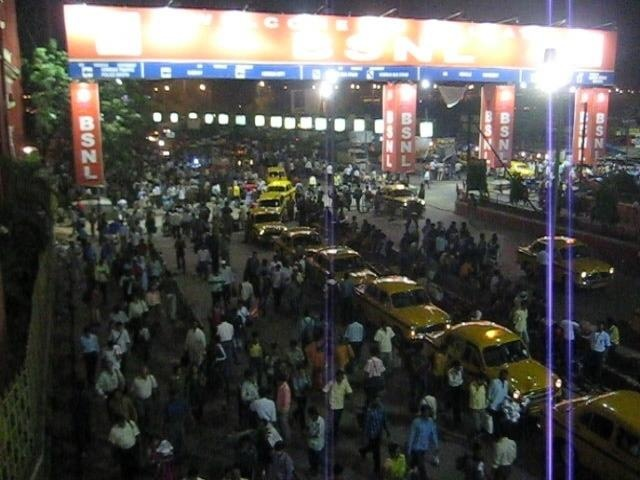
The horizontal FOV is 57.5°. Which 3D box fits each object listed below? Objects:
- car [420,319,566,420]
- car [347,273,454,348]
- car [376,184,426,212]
[{"bbox_3d":[4.185,2.847,14.419,1.556,1.282,3.045,-8,16,-24],"label":"car"},{"bbox_3d":[2.316,1.889,17.253,1.270,1.047,2.664,-9,19,-24],"label":"car"},{"bbox_3d":[4.550,-2.542,34.441,1.431,1.170,2.517,-6,17,-20],"label":"car"}]
